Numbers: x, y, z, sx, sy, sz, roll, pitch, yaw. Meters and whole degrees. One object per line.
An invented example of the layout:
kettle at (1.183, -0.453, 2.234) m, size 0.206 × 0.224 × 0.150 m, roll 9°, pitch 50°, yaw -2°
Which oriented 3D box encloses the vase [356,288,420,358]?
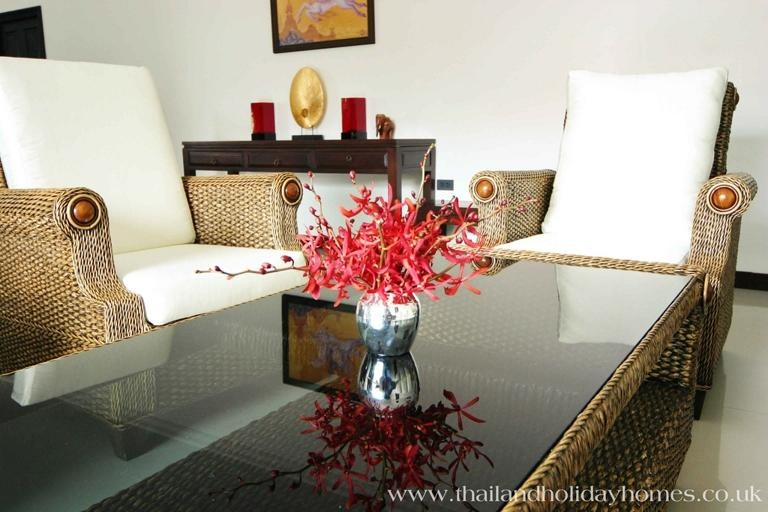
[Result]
vase at (0.022, 0.152, 1.197) m, size 0.131 × 0.168 × 0.135 m, roll 4°, pitch 6°, yaw 40°

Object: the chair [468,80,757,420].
chair at (1.078, -0.173, 2.392) m, size 1.125 × 1.336 × 1.055 m, roll 6°, pitch 8°, yaw 28°

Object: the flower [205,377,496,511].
flower at (0.008, 0.300, 0.879) m, size 0.267 × 0.120 × 0.188 m, roll 0°, pitch 9°, yaw -17°

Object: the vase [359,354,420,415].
vase at (0.008, 0.273, 1.119) m, size 0.137 × 0.126 × 0.150 m, roll 2°, pitch 4°, yaw -10°

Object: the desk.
desk at (-0.797, -0.502, 4.429) m, size 1.850 × 0.995 × 0.669 m, roll 2°, pitch 9°, yaw 5°
